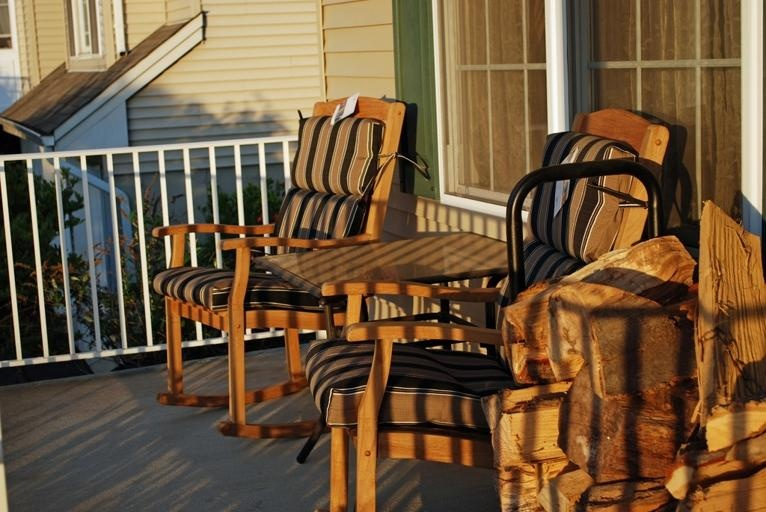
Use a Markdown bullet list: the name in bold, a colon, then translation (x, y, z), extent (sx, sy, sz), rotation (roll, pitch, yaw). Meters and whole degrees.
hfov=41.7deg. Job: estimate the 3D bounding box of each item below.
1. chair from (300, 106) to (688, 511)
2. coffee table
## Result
- **chair**: translation (0.532, 0.116, 4.925), extent (1.834, 2.365, 1.371), rotation (-1, 4, -14)
- **coffee table**: translation (0.059, 0.372, 4.814), extent (0.944, 0.561, 0.772), rotation (-4, 11, -17)
